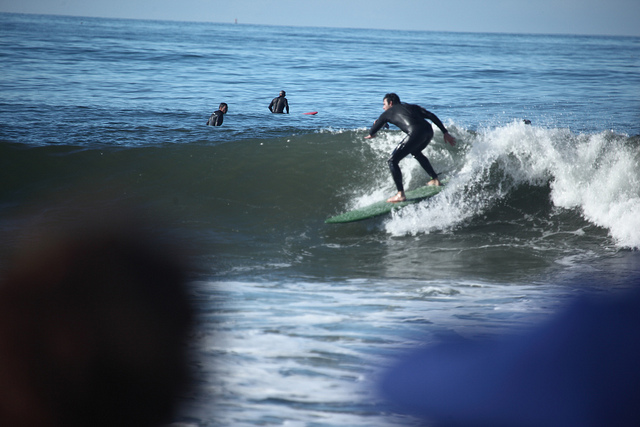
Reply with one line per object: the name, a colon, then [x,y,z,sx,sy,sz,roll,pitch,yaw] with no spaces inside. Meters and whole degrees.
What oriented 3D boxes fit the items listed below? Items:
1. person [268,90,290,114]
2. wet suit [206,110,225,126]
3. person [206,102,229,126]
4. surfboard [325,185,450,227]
person: [-1.206,-3.229,20.734,0.500,0.879,0.806,5,27,-4]
wet suit: [-2.726,-2.494,18.404,0.355,0.552,0.776,1,25,-11]
person: [-2.662,-2.548,18.238,0.394,0.866,1.190,0,25,-12]
surfboard: [1.232,-0.110,12.678,2.298,0.127,0.315,-15,29,-15]
